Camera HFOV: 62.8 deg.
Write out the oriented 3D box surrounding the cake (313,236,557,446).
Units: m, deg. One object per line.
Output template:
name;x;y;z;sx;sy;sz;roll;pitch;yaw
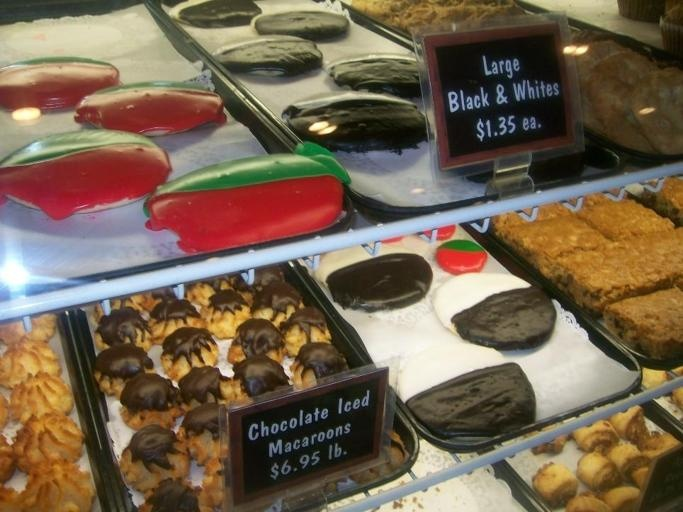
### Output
cake;0.203;0.172;1.701;0.502;0.120;0.466;-11;46;-21
